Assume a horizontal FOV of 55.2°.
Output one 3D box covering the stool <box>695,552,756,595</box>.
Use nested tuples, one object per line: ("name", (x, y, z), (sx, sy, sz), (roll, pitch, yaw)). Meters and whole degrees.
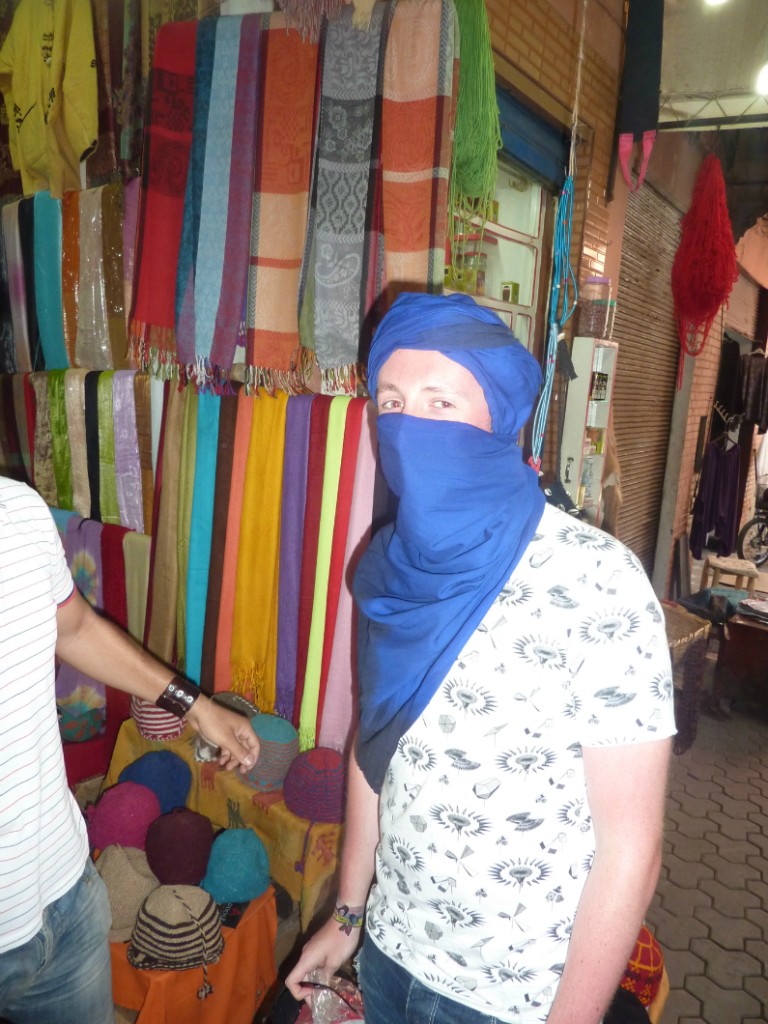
("stool", (2.723, 0.482, 5.864), (0.225, 0.366, 0.253), (5, 5, 22))
